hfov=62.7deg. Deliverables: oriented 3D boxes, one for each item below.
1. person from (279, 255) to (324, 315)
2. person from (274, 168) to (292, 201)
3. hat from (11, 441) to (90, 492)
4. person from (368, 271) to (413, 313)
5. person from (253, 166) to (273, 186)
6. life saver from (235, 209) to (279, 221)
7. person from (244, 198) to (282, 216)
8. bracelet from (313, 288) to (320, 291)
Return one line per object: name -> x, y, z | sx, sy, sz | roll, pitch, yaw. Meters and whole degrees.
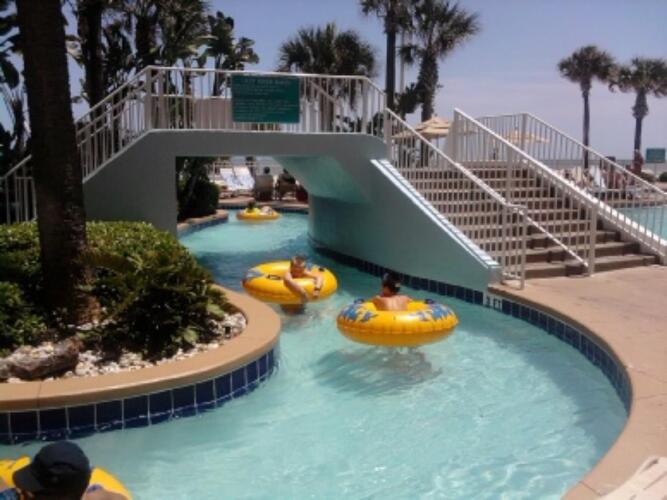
person -> -0.427, 0.537, 7.831 | 0.584, 0.867, 0.803 | -3, 12, -12
person -> -2.288, -3.112, 25.880 | 0.923, 1.345, 1.687 | -2, 11, -4
hat -> -1.475, 1.141, 2.876 | 0.344, 0.174, 0.251 | 14, 13, -32
person -> 0.689, 0.515, 6.681 | 0.523, 0.773, 0.416 | 0, 15, -4
person -> -3.210, -3.381, 25.166 | 0.862, 0.860, 2.407 | -2, 11, -7
life saver -> -2.739, -1.282, 19.669 | 1.392, 0.504, 0.840 | -1, 11, -2
person -> -2.685, -1.450, 19.877 | 0.965, 0.605, 0.976 | 7, 7, 40
bracelet -> -0.239, 0.556, 7.653 | 0.046, 0.035, 0.047 | 3, 5, 31
